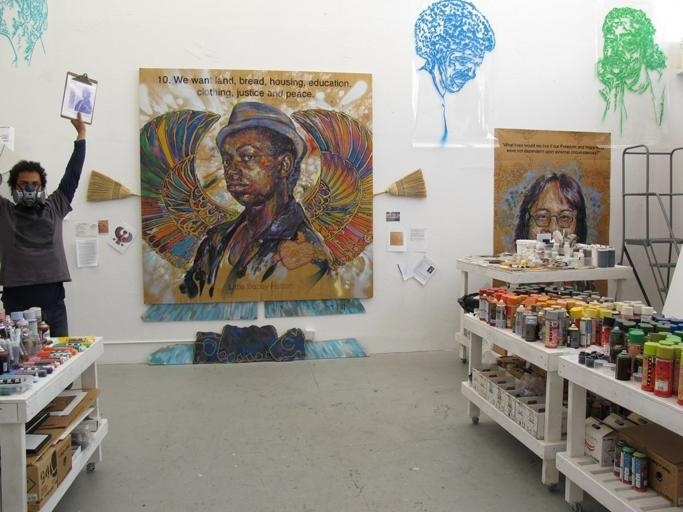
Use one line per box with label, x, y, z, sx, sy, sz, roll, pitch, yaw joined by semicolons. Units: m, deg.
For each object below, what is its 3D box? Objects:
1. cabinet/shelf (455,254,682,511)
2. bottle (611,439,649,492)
cabinet/shelf;1.569;0.524;3.967;1.406;1.930;1.956;-2;4;-20
bottle;1.493;1.092;2.506;0.083;0.216;0.221;-1;3;-13
